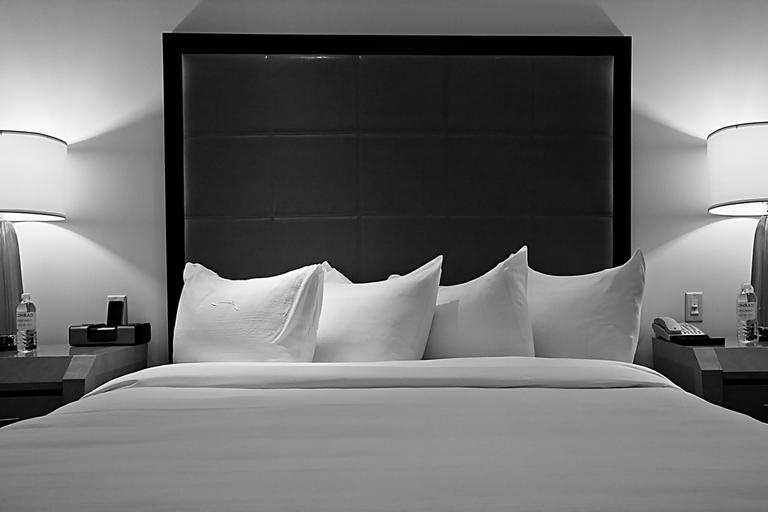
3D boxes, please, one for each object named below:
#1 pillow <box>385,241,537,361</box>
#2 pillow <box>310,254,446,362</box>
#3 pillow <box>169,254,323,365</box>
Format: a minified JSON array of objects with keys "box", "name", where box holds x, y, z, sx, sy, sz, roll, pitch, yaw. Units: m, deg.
[{"box":[0.403,0.258,3.458,0.506,0.452,0.189,-8,-36,18],"name":"pillow"},{"box":[-0.027,0.144,3.457,0.822,0.614,0.428,-5,-1,13],"name":"pillow"},{"box":[-0.738,0.300,3.458,0.546,0.441,0.211,-2,-36,13],"name":"pillow"}]
